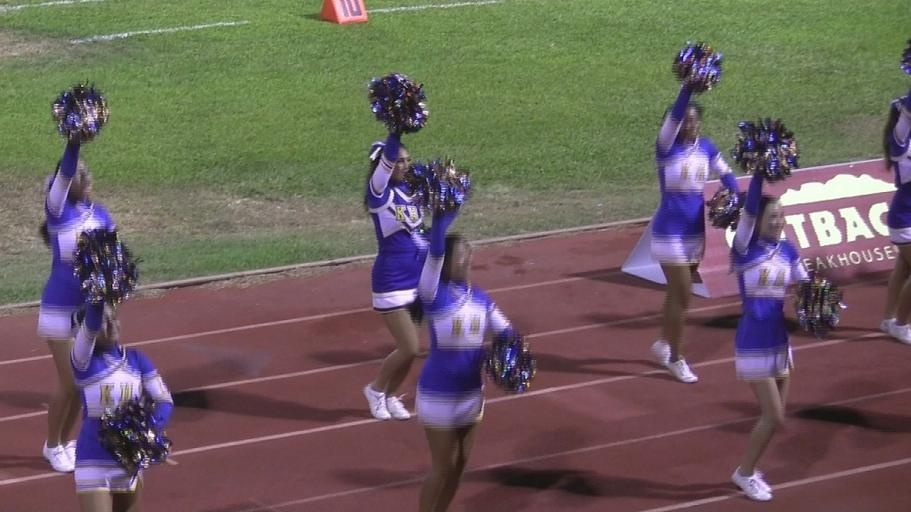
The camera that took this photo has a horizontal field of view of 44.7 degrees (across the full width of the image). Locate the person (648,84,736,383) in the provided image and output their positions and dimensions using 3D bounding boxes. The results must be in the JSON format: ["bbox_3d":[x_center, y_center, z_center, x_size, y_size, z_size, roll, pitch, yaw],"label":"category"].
[{"bbox_3d":[2.841,-0.294,13.592,0.844,3.660,1.229,7,27,34],"label":"person"}]

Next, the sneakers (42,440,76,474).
[{"bbox_3d":[-4.556,2.290,12.725,0.421,0.152,0.259,34,39,17],"label":"sneakers"}]
